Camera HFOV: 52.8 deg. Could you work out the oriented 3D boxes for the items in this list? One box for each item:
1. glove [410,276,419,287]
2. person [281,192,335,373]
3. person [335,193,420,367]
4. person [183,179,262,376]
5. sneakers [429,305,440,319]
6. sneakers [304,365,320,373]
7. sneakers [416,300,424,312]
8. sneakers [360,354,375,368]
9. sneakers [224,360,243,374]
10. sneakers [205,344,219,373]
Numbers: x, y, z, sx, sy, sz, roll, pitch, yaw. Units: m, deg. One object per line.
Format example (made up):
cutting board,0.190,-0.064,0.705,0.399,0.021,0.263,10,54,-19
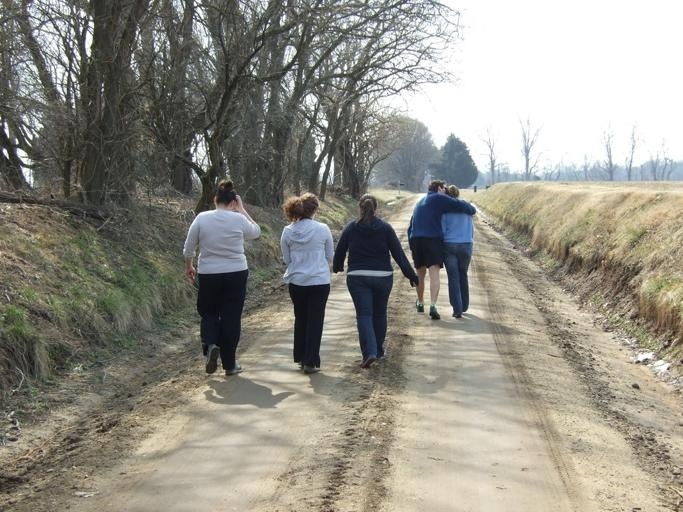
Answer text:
glove,1.061,0.358,10.083,0.128,0.122,0.150,3,-4,-32
person,-0.477,0.369,9.685,0.743,2.468,0.597,0,9,-6
person,0.433,0.338,9.871,1.112,2.403,0.703,0,9,-2
person,-1.684,0.274,9.638,0.669,2.682,0.909,9,12,43
sneakers,1.629,1.006,12.085,0.120,0.127,0.280,0,-15,14
sneakers,-0.414,1.576,9.626,0.076,0.090,0.216,10,11,42
sneakers,1.431,0.904,12.560,0.151,0.176,0.413,-1,-9,4
sneakers,0.370,1.480,9.750,0.216,0.194,0.126,0,9,-3
sneakers,-1.499,1.562,9.677,0.103,0.100,0.241,5,12,17
sneakers,-1.757,1.392,9.419,0.163,0.403,0.170,6,8,-30
